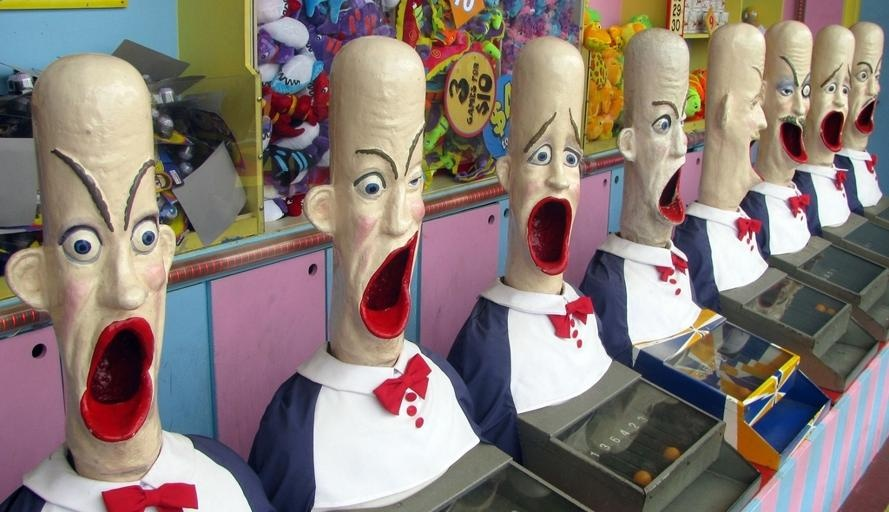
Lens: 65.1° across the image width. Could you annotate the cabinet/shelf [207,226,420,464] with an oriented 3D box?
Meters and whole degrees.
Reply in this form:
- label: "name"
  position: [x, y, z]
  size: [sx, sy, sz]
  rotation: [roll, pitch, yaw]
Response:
- label: "cabinet/shelf"
  position: [-0.590, 0.375, 2.973]
  size: [0.290, 0.926, 0.929]
  rotation: [12, 19, 38]
